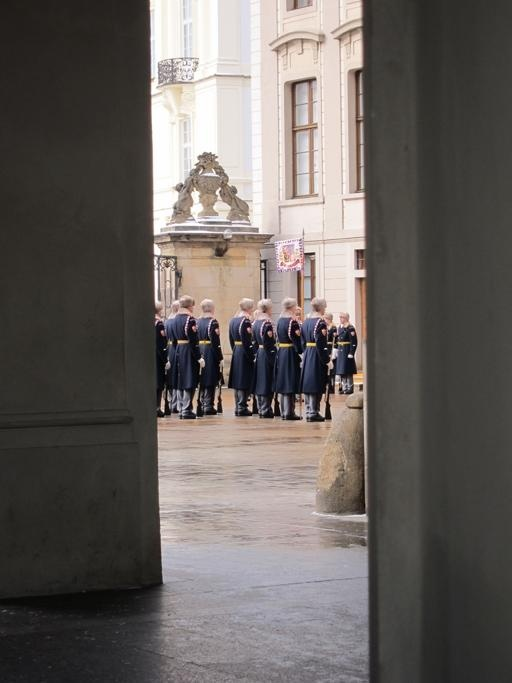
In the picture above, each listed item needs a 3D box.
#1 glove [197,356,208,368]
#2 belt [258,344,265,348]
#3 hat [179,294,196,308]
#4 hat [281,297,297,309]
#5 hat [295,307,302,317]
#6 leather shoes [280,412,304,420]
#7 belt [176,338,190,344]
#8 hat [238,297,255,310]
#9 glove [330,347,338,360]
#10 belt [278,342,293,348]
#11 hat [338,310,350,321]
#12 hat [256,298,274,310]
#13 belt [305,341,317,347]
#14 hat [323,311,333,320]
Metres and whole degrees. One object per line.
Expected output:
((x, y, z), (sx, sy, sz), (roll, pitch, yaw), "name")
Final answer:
((-0.925, 0.361, 19.896), (0.045, 0.176, 0.099), (0, 6, 42), "glove")
((0.076, 0.090, 19.812), (0.040, 0.081, 0.194), (0, 3, -19), "belt")
((-1.185, -0.683, 19.722), (0.199, 0.189, 0.204), (-26, -19, 8), "hat")
((0.518, -0.599, 18.936), (0.141, 0.199, 0.222), (6, 23, 17), "hat")
((0.820, -0.556, 22.571), (0.127, 0.225, 0.198), (0, -3, -1), "hat")
((0.574, 1.212, 18.905), (0.346, 0.200, 0.127), (-2, 0, 21), "leather shoes")
((-1.239, 0.010, 19.899), (0.044, 0.074, 0.308), (-1, 3, -42), "belt")
((-0.169, -0.620, 19.980), (0.159, 0.282, 0.174), (6, -3, 43), "hat")
((1.509, 0.251, 22.256), (0.064, 0.269, 0.224), (3, 2, -36), "glove")
((0.486, 0.074, 19.363), (0.037, 0.080, 0.359), (-1, 3, -43), "belt")
((1.991, -0.550, 26.214), (0.236, 0.279, 0.208), (1, 4, -18), "hat")
((0.156, -0.591, 19.486), (0.146, 0.238, 0.203), (6, 20, 27), "hat")
((0.871, 0.054, 18.714), (0.040, 0.085, 0.333), (0, 3, -24), "belt")
((1.359, -0.497, 22.277), (0.154, 0.271, 0.239), (1, -9, 8), "hat")
